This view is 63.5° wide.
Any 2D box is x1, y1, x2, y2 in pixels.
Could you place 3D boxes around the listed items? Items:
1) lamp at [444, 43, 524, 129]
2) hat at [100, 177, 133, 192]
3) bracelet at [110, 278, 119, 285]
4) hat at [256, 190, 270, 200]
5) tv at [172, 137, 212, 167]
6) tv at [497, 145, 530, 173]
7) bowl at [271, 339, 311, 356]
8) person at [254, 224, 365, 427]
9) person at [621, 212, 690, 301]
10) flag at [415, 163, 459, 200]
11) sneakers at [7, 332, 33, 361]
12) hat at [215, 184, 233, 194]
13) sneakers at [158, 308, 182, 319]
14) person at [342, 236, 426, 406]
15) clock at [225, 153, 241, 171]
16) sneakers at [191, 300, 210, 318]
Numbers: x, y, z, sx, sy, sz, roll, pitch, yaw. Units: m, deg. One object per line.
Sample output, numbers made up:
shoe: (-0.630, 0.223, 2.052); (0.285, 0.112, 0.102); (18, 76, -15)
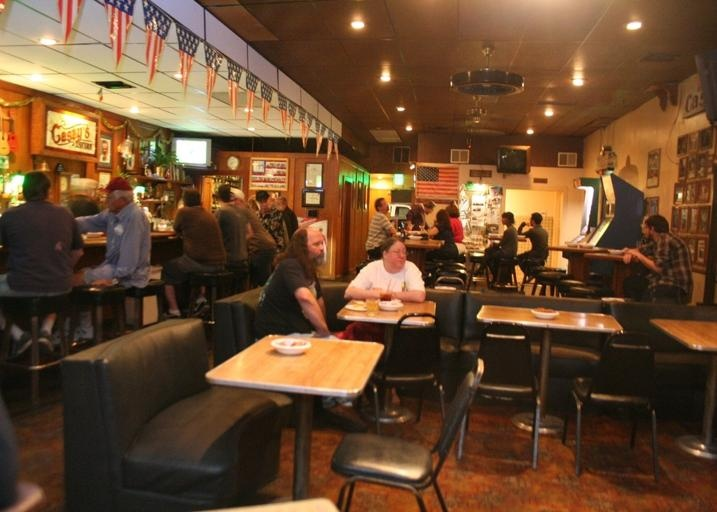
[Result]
lamp: (1.624, -2.283, 7.422); (0.902, 0.991, 0.915); (1, -3, 2)
hat: (-2.666, -0.767, 6.273); (0.339, 0.206, 0.249); (6, 7, 17)
bracelet: (-2.592, 0.270, 6.150); (0.036, 0.052, 0.062); (-31, 29, -13)
hat: (-1.641, -1.041, 9.796); (0.172, 0.220, 0.226); (2, 8, 3)
tv: (-3.536, -2.201, 12.386); (1.044, 0.745, 0.542); (1, 1, 5)
tv: (3.539, -2.079, 13.382); (0.954, 0.826, 0.528); (1, -1, 14)
bowl: (-0.478, 0.621, 4.051); (0.267, 0.073, 0.274); (2, 8, 0)
person: (-0.462, 0.586, 5.241); (0.944, 1.584, 0.662); (2, -3, 4)
person: (3.742, 0.219, 7.350); (0.788, 1.422, 0.730); (5, 10, 18)
flag: (1.952, -1.851, 14.146); (0.987, 0.842, 0.067); (1, 2, 2)
sneakers: (-3.412, 0.900, 5.816); (0.423, 0.186, 0.162); (-32, 27, 39)
hat: (-1.841, -0.931, 8.090); (0.223, 0.119, 0.231); (1, 3, 37)
sneakers: (-2.432, 0.760, 7.529); (0.364, 0.160, 0.148); (3, 1, 15)
person: (0.327, 0.359, 5.895); (0.757, 1.071, 0.872); (3, 3, 21)
clock: (-2.797, -2.064, 12.823); (0.330, 0.341, 0.072); (5, 8, 22)
sneakers: (-2.220, 0.742, 8.162); (0.136, 0.166, 0.417); (2, 4, -4)
